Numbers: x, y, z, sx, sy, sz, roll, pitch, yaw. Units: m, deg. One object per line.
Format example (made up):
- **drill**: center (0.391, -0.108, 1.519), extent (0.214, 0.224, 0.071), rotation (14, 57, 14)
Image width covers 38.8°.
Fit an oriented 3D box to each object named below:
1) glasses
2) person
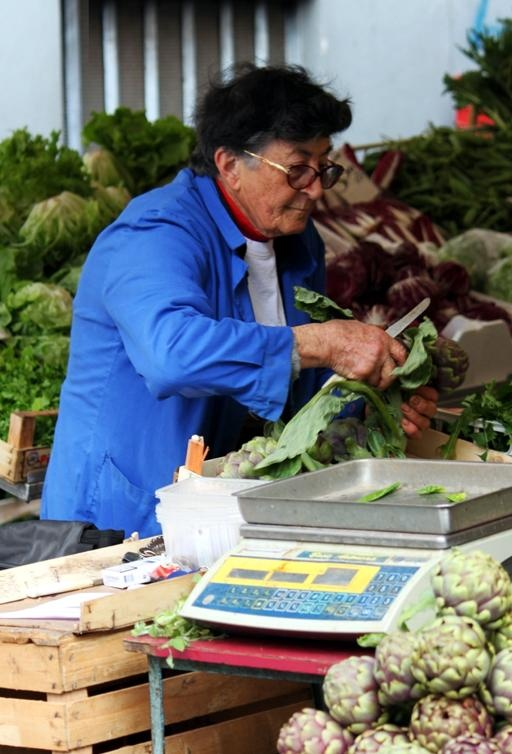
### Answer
- **glasses**: center (0.136, -0.612, 2.187), extent (0.185, 0.056, 0.182), rotation (33, 25, 33)
- **person**: center (-0.141, -0.260, 2.177), extent (0.983, 1.563, 1.016), rotation (-2, 3, -16)
